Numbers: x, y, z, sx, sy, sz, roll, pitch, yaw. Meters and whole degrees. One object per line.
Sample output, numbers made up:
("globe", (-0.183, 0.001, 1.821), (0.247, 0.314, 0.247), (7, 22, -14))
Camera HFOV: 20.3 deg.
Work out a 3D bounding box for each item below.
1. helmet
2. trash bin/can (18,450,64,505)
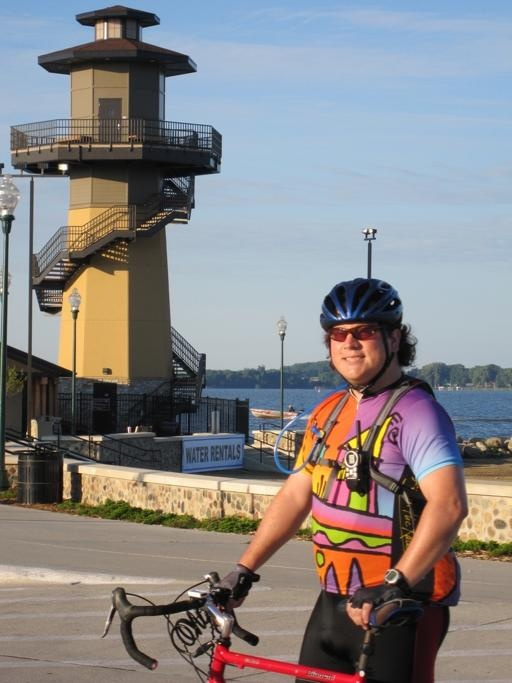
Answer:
("helmet", (0.480, -0.170, 6.416), (0.335, 0.243, 0.478), (-2, -12, 18))
("trash bin/can", (-3.116, 1.887, 20.258), (0.648, 0.733, 0.664), (3, -3, -26))
